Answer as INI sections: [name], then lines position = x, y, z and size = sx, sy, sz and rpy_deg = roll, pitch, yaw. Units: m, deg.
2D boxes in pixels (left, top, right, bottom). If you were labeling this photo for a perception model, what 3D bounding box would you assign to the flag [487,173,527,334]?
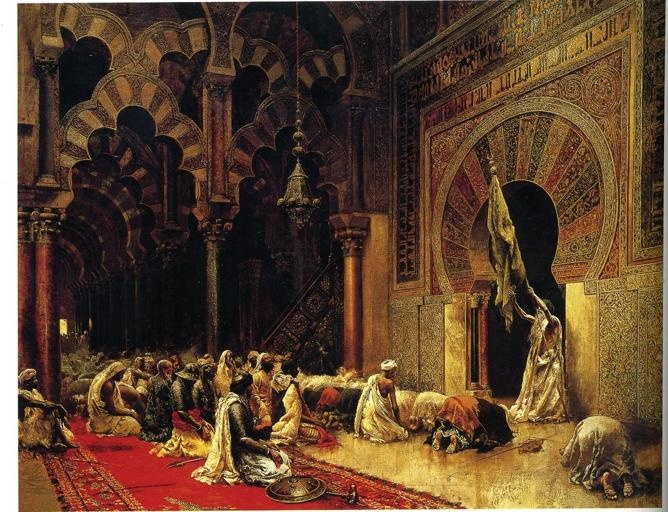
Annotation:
[flag]
position = 2.225, -0.128, 9.674
size = 0.292, 2.154, 0.667
rpy_deg = 4, -8, -17
